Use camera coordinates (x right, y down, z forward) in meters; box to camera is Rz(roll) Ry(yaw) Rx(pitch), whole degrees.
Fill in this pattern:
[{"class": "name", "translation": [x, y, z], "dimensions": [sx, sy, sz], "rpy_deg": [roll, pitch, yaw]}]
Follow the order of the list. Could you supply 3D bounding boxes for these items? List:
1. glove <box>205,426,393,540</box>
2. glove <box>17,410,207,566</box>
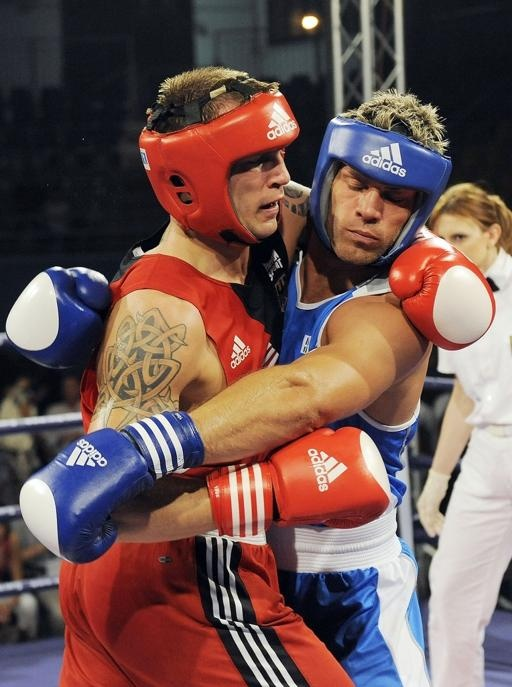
[{"class": "glove", "translation": [0.069, 0.250, 1.371], "dimensions": [0.378, 0.179, 0.133], "rpy_deg": [-2, -26, -30]}, {"class": "glove", "translation": [-0.227, 0.228, 1.336], "dimensions": [0.345, 0.132, 0.198], "rpy_deg": [-35, 58, -25]}]
